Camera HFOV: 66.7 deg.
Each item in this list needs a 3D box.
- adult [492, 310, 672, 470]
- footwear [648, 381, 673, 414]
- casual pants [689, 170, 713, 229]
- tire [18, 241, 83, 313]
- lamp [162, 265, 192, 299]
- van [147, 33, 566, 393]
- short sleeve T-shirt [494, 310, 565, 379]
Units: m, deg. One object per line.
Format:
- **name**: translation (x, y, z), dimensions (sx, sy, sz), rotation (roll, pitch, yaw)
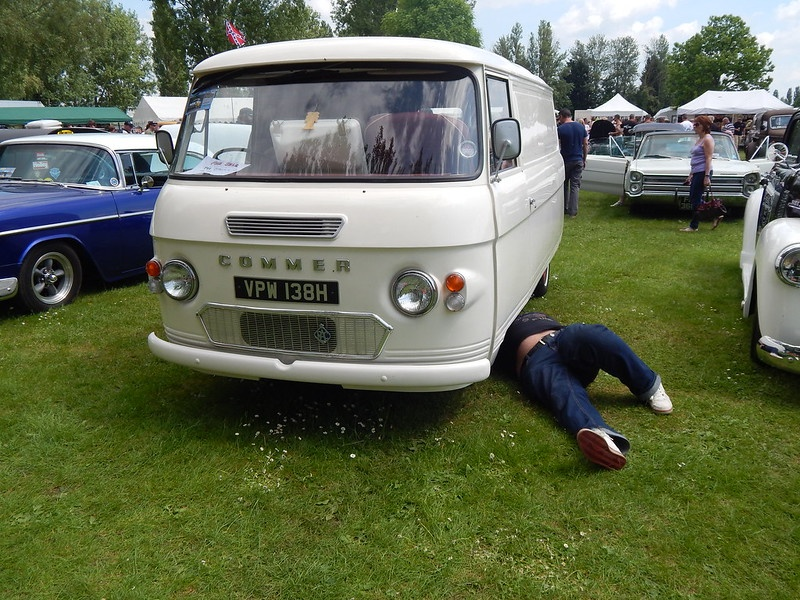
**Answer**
- **adult**: translation (1.449, 0.604, 5.049), dimensions (1.111, 0.664, 1.891), rotation (-19, 25, -14)
- **footwear**: translation (2.143, 0.809, 5.078), dimensions (0.108, 0.146, 0.345), rotation (-11, 12, 7)
- **casual pants**: translation (5.495, -1.857, 11.349), dimensions (0.272, 1.128, 0.590), rotation (7, 19, 24)
- **tire**: translation (-4.263, -0.269, 7.369), dimensions (0.227, 0.845, 0.781), rotation (5, 8, 20)
- **lamp**: translation (-1.662, -0.156, 4.608), dimensions (0.262, 0.312, 0.118), rotation (2, 15, 6)
- **van**: translation (0.052, -0.905, 5.572), dimensions (1.800, 1.772, 3.637), rotation (3, 13, 16)
- **short sleeve T-shirt**: translation (1.110, 0.387, 5.327), dimensions (0.585, 0.289, 0.447), rotation (-8, -17, 44)
